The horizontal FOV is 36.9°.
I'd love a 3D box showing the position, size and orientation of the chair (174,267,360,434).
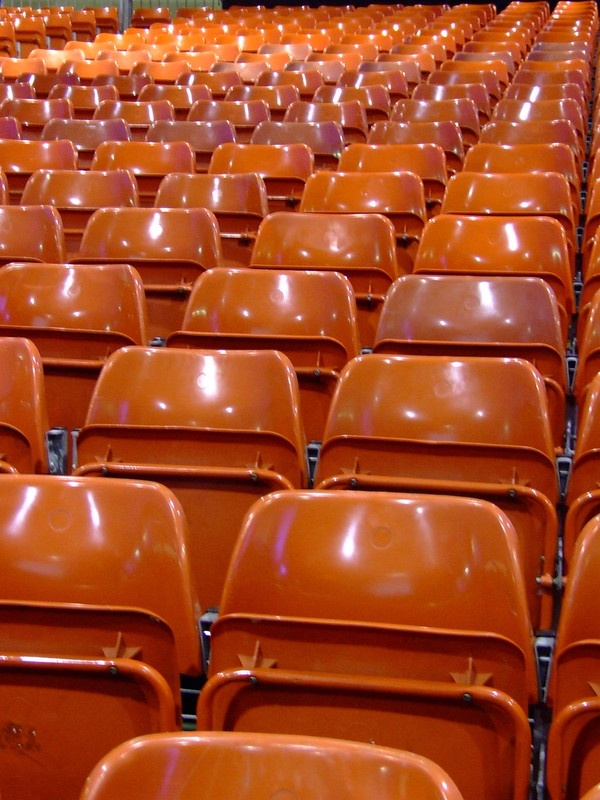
[{"bbox_3d":[-0.099,-0.183,2.918,0.486,0.615,0.494,1,-1,7],"label":"chair"}]
